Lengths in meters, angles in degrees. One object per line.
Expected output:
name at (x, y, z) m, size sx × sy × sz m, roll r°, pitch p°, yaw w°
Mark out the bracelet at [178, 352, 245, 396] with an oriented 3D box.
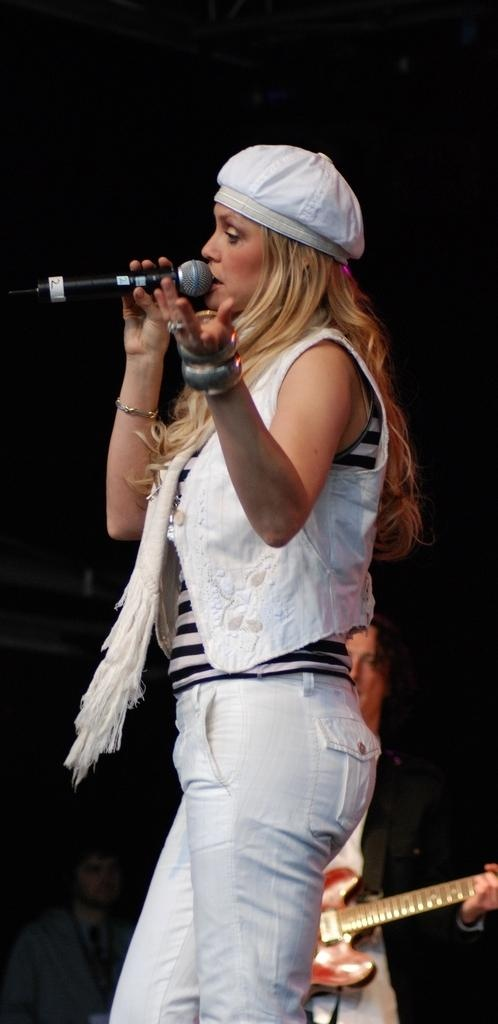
bracelet at (-0.033, -0.119, 0.839) m, size 0.040 × 0.031 × 0.040 m, roll -2°, pitch 7°, yaw -17°
